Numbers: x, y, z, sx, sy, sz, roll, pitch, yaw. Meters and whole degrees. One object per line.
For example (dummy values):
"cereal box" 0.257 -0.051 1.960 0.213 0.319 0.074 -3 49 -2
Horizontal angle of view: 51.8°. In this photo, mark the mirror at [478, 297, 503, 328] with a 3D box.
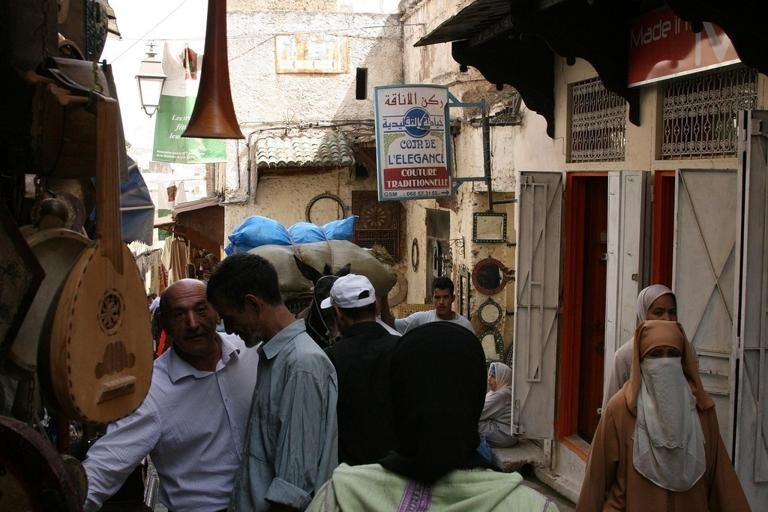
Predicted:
"mirror" 1.531 0.813 11.360 0.390 0.411 0.071 0 4 -15

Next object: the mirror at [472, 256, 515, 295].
"mirror" 1.578 0.285 11.271 0.474 0.478 0.038 1 4 -8

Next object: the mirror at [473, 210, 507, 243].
"mirror" 1.508 -0.414 11.194 0.398 0.402 0.157 0 0 1
